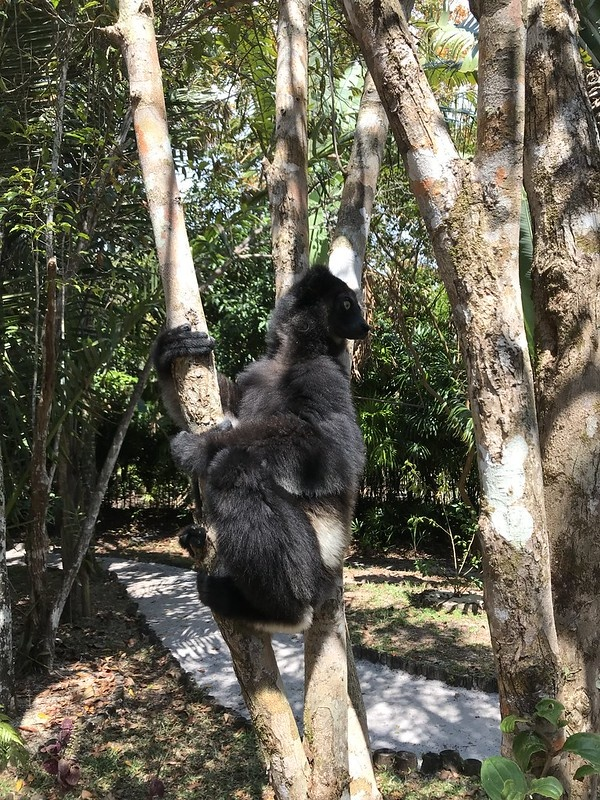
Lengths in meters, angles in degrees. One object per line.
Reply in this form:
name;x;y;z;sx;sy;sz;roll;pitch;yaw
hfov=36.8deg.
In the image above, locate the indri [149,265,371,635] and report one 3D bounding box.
indri;-0.079;0.155;3.491;0.549;1.503;0.875;-4;-5;24
